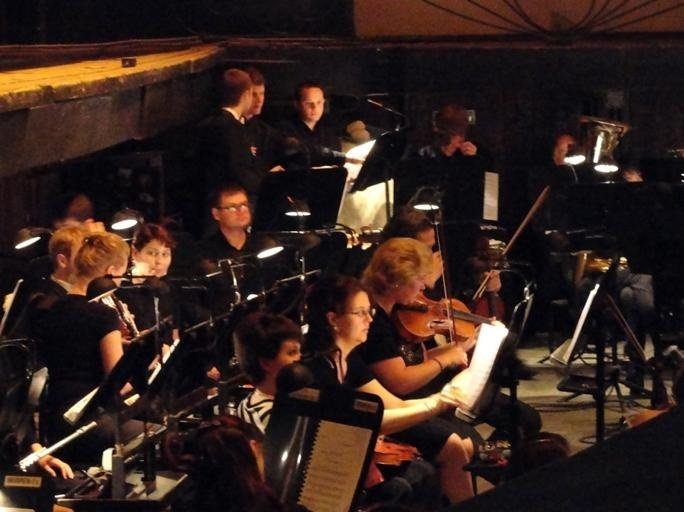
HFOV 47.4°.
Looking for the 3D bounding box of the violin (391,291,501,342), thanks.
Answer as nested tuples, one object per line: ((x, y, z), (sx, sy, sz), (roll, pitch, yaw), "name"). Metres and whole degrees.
((0.617, 0.334, 4.100), (0.667, 0.236, 0.093), (10, -24, -14), "violin")

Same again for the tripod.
((1.716, 0.421, 4.881), (0.613, 1.045, 0.659), (3, 14, 10), "tripod")
